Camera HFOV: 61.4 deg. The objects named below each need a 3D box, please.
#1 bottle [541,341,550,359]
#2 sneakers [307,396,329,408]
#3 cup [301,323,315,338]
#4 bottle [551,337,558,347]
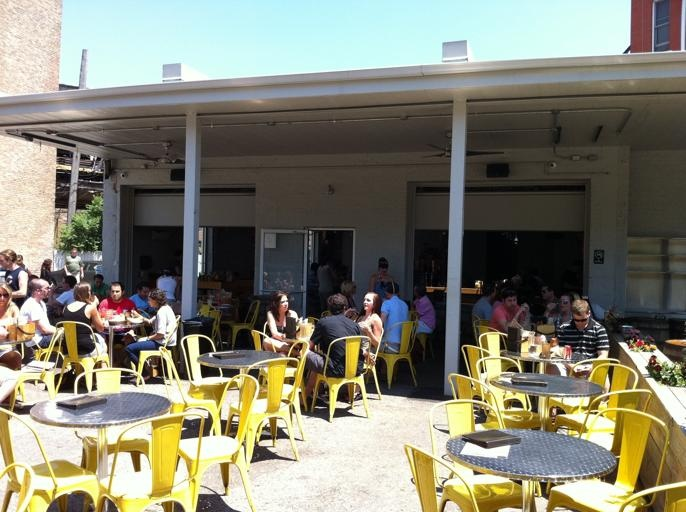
[{"bbox_3d":[2.079,0.967,5.958,0.116,0.133,0.116,0,-4,2],"label":"bottle"},{"bbox_3d":[-0.286,1.671,6.688,0.327,0.142,0.113,-2,0,14],"label":"sneakers"},{"bbox_3d":[-0.424,0.848,6.758,0.158,0.283,0.158,0,2,0],"label":"cup"},{"bbox_3d":[2.214,0.909,6.131,0.075,0.093,0.094,5,5,29],"label":"bottle"}]
